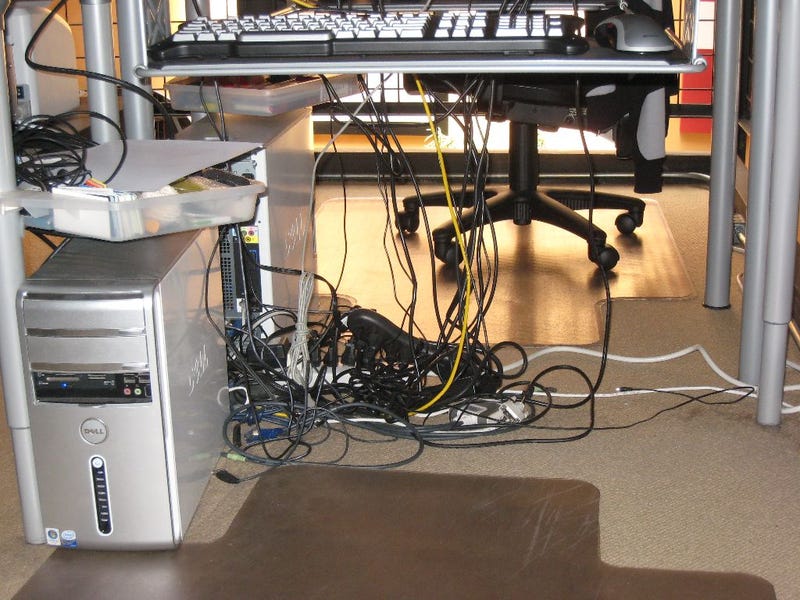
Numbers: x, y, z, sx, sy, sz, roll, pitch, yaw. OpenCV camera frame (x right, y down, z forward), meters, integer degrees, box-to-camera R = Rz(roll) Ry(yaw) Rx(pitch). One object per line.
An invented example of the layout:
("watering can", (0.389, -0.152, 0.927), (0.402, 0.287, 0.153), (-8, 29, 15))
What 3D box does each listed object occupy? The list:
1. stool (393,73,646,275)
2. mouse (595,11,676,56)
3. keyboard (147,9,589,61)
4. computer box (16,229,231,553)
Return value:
("stool", (0.404, -0.398, 2.485), (0.888, 0.692, 0.671), (-1, 19, -2))
("mouse", (0.381, -0.439, 1.317), (0.089, 0.038, 0.104), (1, 26, -4))
("keyboard", (-0.048, -0.433, 1.332), (0.561, 0.030, 0.366), (1, 23, 4))
("computer box", (-0.483, 0.147, 1.467), (0.271, 0.520, 0.329), (-5, 15, 4))
